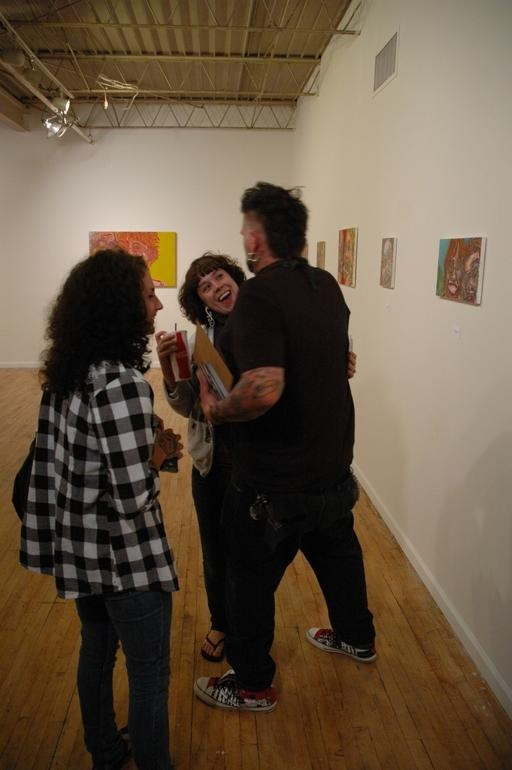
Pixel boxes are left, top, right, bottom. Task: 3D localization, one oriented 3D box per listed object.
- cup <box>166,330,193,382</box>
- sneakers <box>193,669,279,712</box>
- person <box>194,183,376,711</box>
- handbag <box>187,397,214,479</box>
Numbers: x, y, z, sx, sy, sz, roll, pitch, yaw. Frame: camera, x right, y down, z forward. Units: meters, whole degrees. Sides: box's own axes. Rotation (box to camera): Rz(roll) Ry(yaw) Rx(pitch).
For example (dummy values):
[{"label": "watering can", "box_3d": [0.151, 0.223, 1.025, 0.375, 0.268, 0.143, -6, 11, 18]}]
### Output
[{"label": "cup", "box_3d": [-0.265, -0.103, 1.693, 0.099, 0.168, 0.103, -11, 1, 0]}, {"label": "sneakers", "box_3d": [-0.069, 1.075, 1.789, 0.310, 0.149, 0.125, 8, -17, 7]}, {"label": "person", "box_3d": [0.088, 0.169, 1.496, 0.468, 1.477, 0.441, -6, 10, -35]}, {"label": "handbag", "box_3d": [-0.177, 0.176, 1.749, 0.135, 0.224, 0.143, 0, 9, -2]}]
